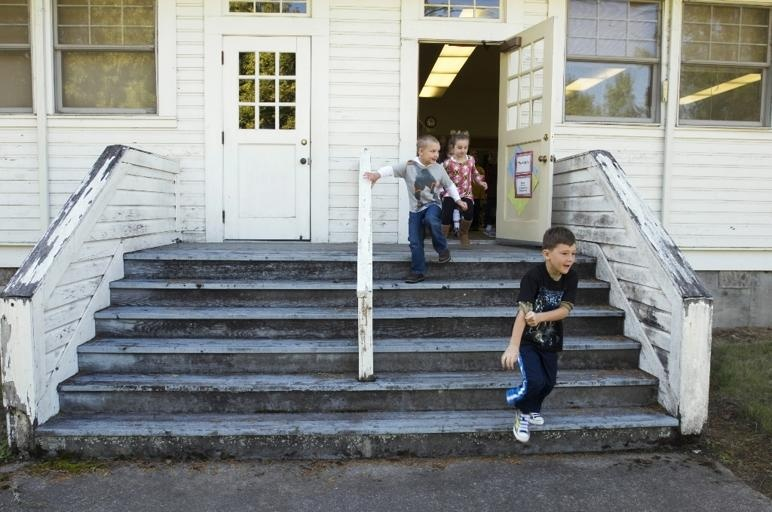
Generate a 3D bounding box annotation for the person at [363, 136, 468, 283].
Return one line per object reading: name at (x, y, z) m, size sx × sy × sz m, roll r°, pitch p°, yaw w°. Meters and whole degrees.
person at (0.339, -0.537, 8.853) m, size 0.755 × 1.497 × 0.960 m, roll 4°, pitch 11°, yaw 24°

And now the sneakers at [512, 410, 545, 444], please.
sneakers at (1.290, 1.558, 7.441) m, size 0.153 × 0.169 × 0.447 m, roll 7°, pitch 5°, yaw 3°

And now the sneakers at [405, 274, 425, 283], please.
sneakers at (0.297, 0.247, 8.630) m, size 0.225 × 0.090 × 0.081 m, roll 0°, pitch 0°, yaw -36°

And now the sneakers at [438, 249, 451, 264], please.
sneakers at (0.616, 0.007, 8.770) m, size 0.149 × 0.149 × 0.363 m, roll -2°, pitch 2°, yaw 8°

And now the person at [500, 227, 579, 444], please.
person at (1.364, 0.716, 7.483) m, size 0.773 × 1.960 × 0.379 m, roll -6°, pitch 11°, yaw -23°

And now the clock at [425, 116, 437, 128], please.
clock at (0.978, -2.948, 18.031) m, size 0.262 × 0.229 × 0.237 m, roll -1°, pitch 10°, yaw -1°
